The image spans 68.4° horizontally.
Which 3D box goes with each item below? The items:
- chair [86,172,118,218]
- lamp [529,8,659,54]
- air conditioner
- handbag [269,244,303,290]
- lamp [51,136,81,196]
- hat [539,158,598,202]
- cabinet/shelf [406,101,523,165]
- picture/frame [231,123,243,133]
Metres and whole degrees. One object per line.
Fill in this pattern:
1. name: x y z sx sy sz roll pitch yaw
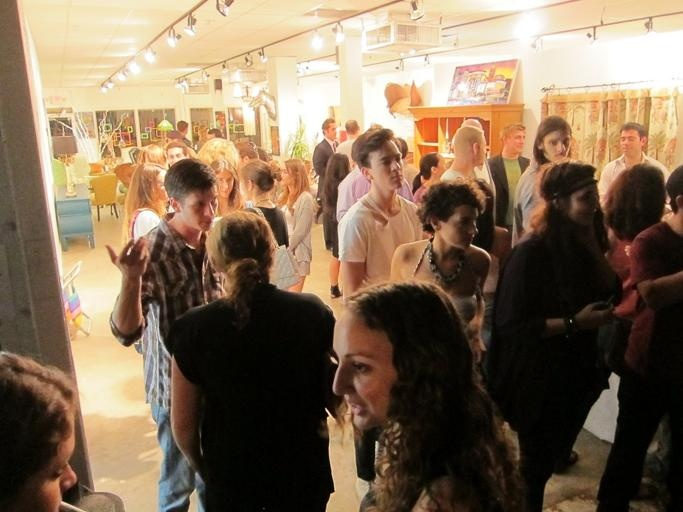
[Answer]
1. chair: -5.232 -1.328 10.950 0.558 0.969 0.599 -7 24 -26
2. lamp: 3.433 -3.077 7.011 0.630 0.291 2.271 -5 12 -13
3. air conditioner: 0.836 -3.329 7.458 1.216 0.514 0.840 1 12 16
4. handbag: -0.396 0.085 3.165 0.104 0.243 0.238 15 20 38
5. lamp: -5.301 -1.696 9.585 0.450 1.052 0.455 5 12 6
6. hat: 1.045 -0.352 2.331 0.235 0.198 0.200 2 12 12
7. cabinet/shelf: 1.858 -1.972 8.615 1.464 1.036 0.454 2 -9 14
8. picture/frame: -3.776 -4.575 18.035 0.549 0.293 0.336 2 18 12
